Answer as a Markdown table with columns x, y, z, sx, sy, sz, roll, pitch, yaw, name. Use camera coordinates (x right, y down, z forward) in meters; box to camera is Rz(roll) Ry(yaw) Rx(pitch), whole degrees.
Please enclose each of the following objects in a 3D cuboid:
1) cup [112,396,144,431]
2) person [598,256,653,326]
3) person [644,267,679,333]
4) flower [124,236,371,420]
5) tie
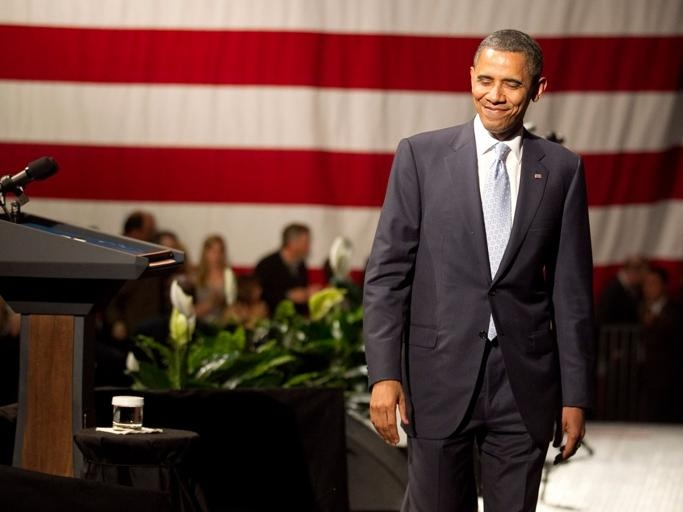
| x | y | z | sx | sy | sz | roll | pitch | yaw | name |
| --- | --- | --- | --- | --- | --- | --- | --- | --- | --- |
| -0.882 | 0.638 | 3.503 | 0.114 | 0.137 | 0.126 | 3 | -4 | 8 | cup |
| 2.508 | 0.317 | 7.473 | 0.412 | 0.597 | 1.111 | 0 | -1 | 17 | person |
| 2.821 | 0.358 | 7.362 | 0.313 | 0.436 | 1.150 | 1 | -20 | 21 | person |
| -0.542 | 0.374 | 4.901 | 1.304 | 0.892 | 1.894 | 0 | -1 | 13 | flower |
| 0.586 | -0.048 | 3.183 | 0.089 | 0.748 | 0.085 | 4 | -6 | 4 | tie |
